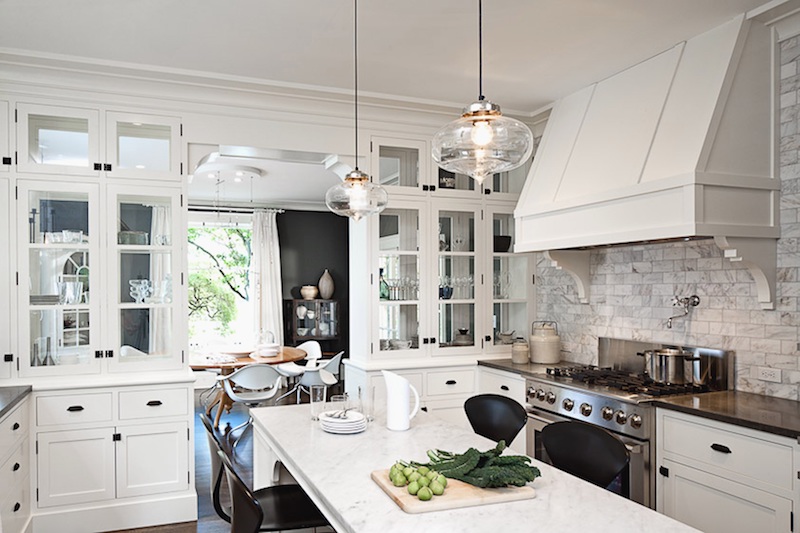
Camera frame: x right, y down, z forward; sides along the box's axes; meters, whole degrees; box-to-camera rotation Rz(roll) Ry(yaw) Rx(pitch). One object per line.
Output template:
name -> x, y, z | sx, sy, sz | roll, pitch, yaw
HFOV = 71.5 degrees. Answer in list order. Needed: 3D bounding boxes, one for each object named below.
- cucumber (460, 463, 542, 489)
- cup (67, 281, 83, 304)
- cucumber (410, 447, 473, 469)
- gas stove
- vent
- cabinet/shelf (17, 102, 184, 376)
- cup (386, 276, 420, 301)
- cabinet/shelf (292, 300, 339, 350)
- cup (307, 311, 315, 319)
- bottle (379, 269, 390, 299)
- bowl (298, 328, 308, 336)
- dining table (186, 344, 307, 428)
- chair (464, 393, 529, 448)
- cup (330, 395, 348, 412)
cucumber -> 0.511, 1.095, 2.880 | 0.397, 0.127, 0.126 | -1, 11, -2
cup -> -2.672, 0.211, 4.576 | 0.171, 0.158, 0.113 | 7, -10, -41
cucumber -> 0.230, 1.062, 3.073 | 0.196, 0.051, 0.127 | 6, 15, 41
gas stove -> 1.744, 1.138, 4.499 | 0.879, 0.899, 1.517 | -2, -4, -18
vent -> 2.172, -1.095, 4.751 | 0.771, 1.404, 2.103 | 3, 10, -13
cabinet/shelf -> -2.516, -0.226, 4.619 | 1.418, 2.205, 0.481 | -4, 12, -16
cup -> 0.032, 0.215, 5.363 | 0.277, 0.196, 0.211 | -3, -5, 26
cabinet/shelf -> -1.478, 0.961, 9.497 | 0.872, 0.800, 0.333 | 0, -4, -10
cup -> -1.538, 0.826, 9.627 | 0.125, 0.133, 0.128 | -1, -29, 0
bottle -> -0.142, 0.168, 5.304 | 0.087, 0.290, 0.064 | 0, 11, 4
bowl -> -1.660, 1.123, 9.588 | 0.149, 0.106, 0.128 | 2, -14, -12
dining table -> -1.901, 1.634, 7.019 | 1.204, 0.644, 1.186 | 0, 1, -10
chair -> 0.663, 1.011, 3.951 | 0.370, 0.518, 0.386 | -1, 0, 30
cup -> -0.421, 0.959, 3.931 | 0.144, 0.117, 0.114 | 4, -7, -27
